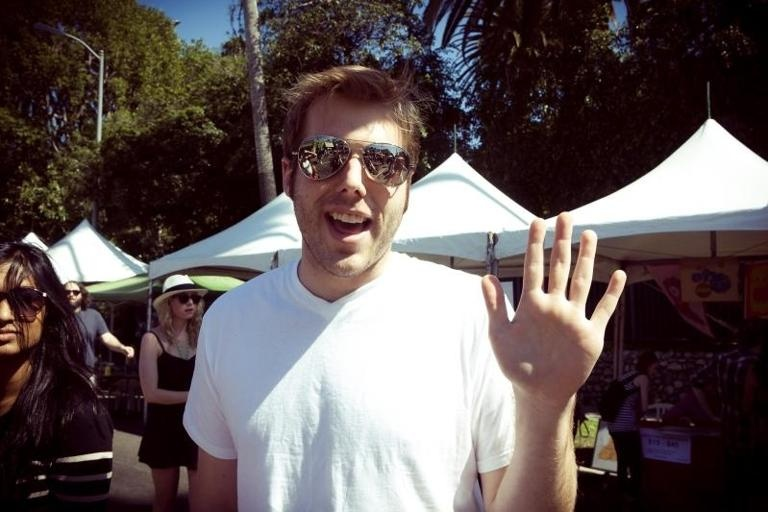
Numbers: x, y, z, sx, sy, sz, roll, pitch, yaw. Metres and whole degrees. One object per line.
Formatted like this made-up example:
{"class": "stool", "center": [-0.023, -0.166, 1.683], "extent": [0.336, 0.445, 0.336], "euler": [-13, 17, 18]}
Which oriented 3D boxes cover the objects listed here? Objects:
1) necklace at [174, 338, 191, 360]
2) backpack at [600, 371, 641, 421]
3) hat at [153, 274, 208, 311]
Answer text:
{"class": "necklace", "center": [-2.045, 0.934, 6.217], "extent": [0.166, 0.043, 0.166], "euler": [13, 34, -53]}
{"class": "backpack", "center": [2.991, 1.713, 7.798], "extent": [0.398, 0.752, 0.690], "euler": [2, -13, 42]}
{"class": "hat", "center": [-2.208, 0.311, 6.590], "extent": [0.450, 0.240, 0.569], "euler": [0, -19, -42]}
